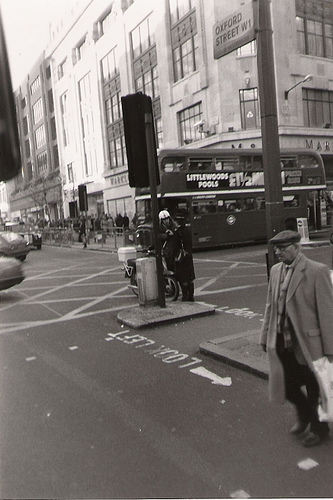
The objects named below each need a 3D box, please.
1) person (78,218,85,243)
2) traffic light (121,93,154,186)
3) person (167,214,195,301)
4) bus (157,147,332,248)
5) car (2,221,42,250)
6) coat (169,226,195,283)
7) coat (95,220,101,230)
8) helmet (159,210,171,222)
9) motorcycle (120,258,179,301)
[{"bbox_3d":[-5.335,-1.184,27.756,0.401,1.595,3.022,-3,4,-11],"label":"person"},{"bbox_3d":[-0.461,-1.802,7.202,0.490,1.516,0.344,-3,3,-6],"label":"traffic light"},{"bbox_3d":[0.268,0.227,8.252,0.442,1.475,0.370,-2,3,-1],"label":"person"},{"bbox_3d":[3.372,-2.498,21.334,9.695,6.268,3.725,-8,9,-29],"label":"bus"},{"bbox_3d":[-7.922,-0.804,24.299,1.618,1.788,2.888,-4,5,-34],"label":"car"},{"bbox_3d":[0.270,0.083,8.202,0.475,1.033,0.283,-4,3,-21],"label":"coat"},{"bbox_3d":[-4.587,-1.669,29.626,0.341,0.629,0.425,-3,3,-11],"label":"coat"},{"bbox_3d":[-0.038,-0.644,8.310,0.193,0.250,0.129,-5,1,0],"label":"helmet"},{"bbox_3d":[-0.357,0.438,8.799,1.288,1.019,0.544,3,19,27],"label":"motorcycle"}]
